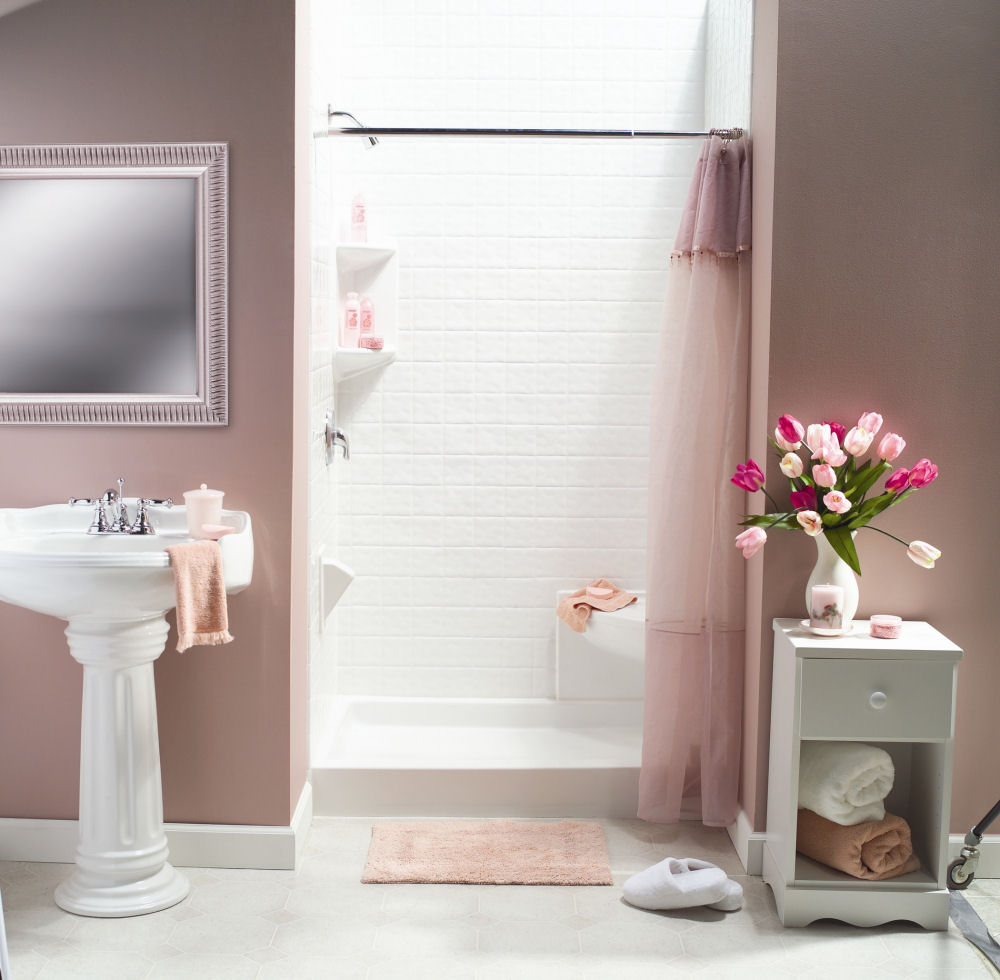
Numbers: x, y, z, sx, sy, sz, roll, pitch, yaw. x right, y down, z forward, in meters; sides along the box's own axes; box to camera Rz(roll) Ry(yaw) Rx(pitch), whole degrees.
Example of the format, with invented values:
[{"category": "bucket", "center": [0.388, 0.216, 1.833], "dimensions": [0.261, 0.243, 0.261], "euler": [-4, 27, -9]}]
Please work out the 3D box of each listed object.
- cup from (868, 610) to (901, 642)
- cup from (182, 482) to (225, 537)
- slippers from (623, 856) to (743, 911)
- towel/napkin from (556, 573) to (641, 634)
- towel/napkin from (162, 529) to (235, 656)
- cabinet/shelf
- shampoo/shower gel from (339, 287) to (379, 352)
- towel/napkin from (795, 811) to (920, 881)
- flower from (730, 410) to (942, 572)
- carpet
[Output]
[{"category": "cup", "center": [0.960, 0.334, 2.450], "dimensions": [0.072, 0.049, 0.084], "euler": [4, 12, 15]}, {"category": "cup", "center": [-0.720, 0.040, 2.462], "dimensions": [0.118, 0.136, 0.116], "euler": [0, -4, 0]}, {"category": "slippers", "center": [0.476, 1.013, 2.526], "dimensions": [0.228, 0.079, 0.135], "euler": [2, 0, 2]}, {"category": "towel/napkin", "center": [0.332, 0.386, 3.425], "dimensions": [0.203, 0.101, 0.199], "euler": [-4, 4, -14]}, {"category": "towel/napkin", "center": [-0.700, 0.245, 2.303], "dimensions": [0.147, 0.246, 0.041], "euler": [-4, 1, -35]}, {"category": "cabinet/shelf", "center": [0.915, 0.707, 2.517], "dimensions": [0.417, 0.727, 0.320], "euler": [1, 12, 3]}, {"category": "shampoo/shower gel", "center": [-0.489, -0.595, 3.442], "dimensions": [0.112, 0.192, 0.191], "euler": [5, 13, 22]}, {"category": "towel/napkin", "center": [0.925, 0.915, 2.558], "dimensions": [0.306, 0.105, 0.340], "euler": [-4, -1, 16]}, {"category": "flower", "center": [0.860, -0.023, 2.523], "dimensions": [0.521, 0.268, 0.404], "euler": [21, -27, -13]}, {"category": "carpet", "center": [-0.034, 1.019, 2.802], "dimensions": [0.684, 0.034, 0.364], "euler": [0, 12, 0]}]
